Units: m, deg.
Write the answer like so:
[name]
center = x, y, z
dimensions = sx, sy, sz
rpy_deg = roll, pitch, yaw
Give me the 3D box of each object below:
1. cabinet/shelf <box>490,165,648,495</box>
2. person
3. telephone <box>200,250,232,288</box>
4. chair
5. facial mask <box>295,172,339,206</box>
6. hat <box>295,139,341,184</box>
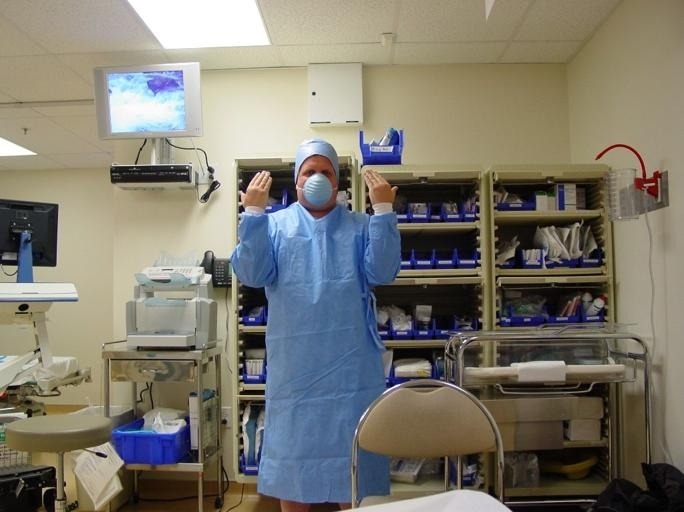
[cabinet/shelf]
center = 1.363, 0.450, 4.218
dimensions = 1.011, 2.099, 0.863
rpy_deg = -1, -4, 11
[person]
center = -0.141, 0.336, 3.569
dimensions = 0.878, 1.974, 0.239
rpy_deg = 0, -4, 4
[telephone]
center = -0.868, 0.075, 4.762
dimensions = 0.098, 0.294, 0.289
rpy_deg = -4, 1, 43
[chair]
center = 0.393, 0.933, 3.532
dimensions = 0.552, 1.056, 0.681
rpy_deg = -1, -8, 1
[facial mask]
center = -0.132, -0.359, 3.587
dimensions = 0.145, 0.156, 0.165
rpy_deg = 2, 0, -1
[hat]
center = -0.147, -0.543, 3.770
dimensions = 0.176, 0.237, 0.252
rpy_deg = 1, 6, 2
